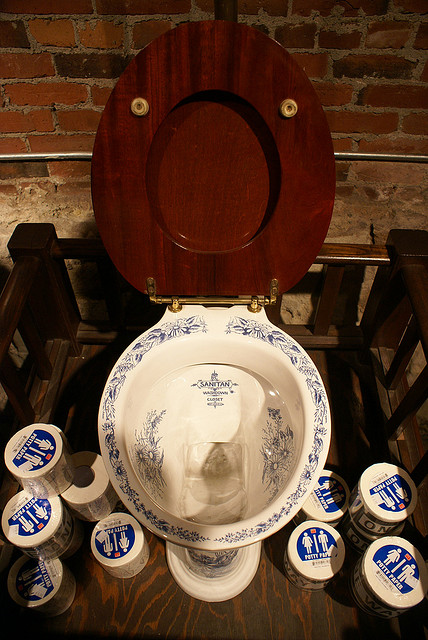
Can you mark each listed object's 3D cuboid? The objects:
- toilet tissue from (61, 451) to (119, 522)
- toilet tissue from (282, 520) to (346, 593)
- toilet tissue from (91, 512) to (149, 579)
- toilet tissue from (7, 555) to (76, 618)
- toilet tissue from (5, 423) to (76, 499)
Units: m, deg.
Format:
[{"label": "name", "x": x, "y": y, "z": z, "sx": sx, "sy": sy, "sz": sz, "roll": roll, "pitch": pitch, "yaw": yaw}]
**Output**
[{"label": "toilet tissue", "x": -0.224, "y": 0.335, "z": 0.951, "sx": 0.127, "sy": 0.144, "sz": 0.144, "roll": -2, "pitch": 62, "yaw": 0}, {"label": "toilet tissue", "x": 0.190, "y": 0.448, "z": 0.877, "sx": 0.107, "sy": 0.086, "sz": 0.115, "roll": 22, "pitch": 47, "yaw": 15}, {"label": "toilet tissue", "x": -0.194, "y": 0.447, "z": 0.899, "sx": 0.086, "sy": 0.093, "sz": 0.102, "roll": 0, "pitch": 47, "yaw": -7}, {"label": "toilet tissue", "x": -0.312, "y": 0.478, "z": 0.866, "sx": 0.108, "sy": 0.122, "sz": 0.119, "roll": 3, "pitch": 72, "yaw": -10}, {"label": "toilet tissue", "x": -0.314, "y": 0.257, "z": 0.867, "sx": 0.115, "sy": 0.135, "sz": 0.128, "roll": -6, "pitch": 56, "yaw": 12}]
